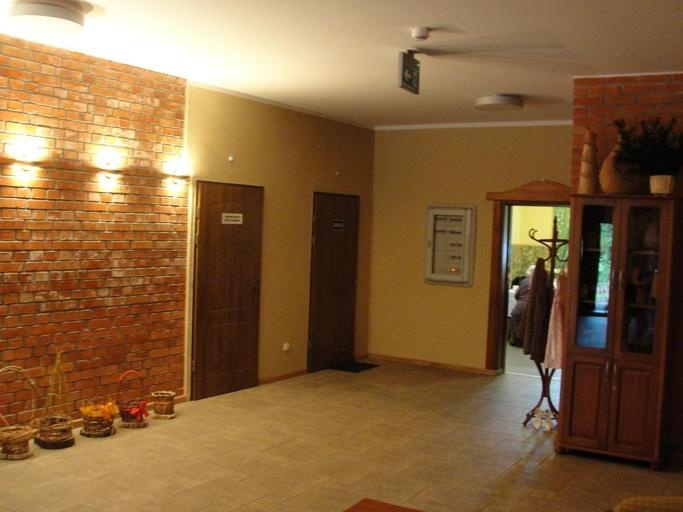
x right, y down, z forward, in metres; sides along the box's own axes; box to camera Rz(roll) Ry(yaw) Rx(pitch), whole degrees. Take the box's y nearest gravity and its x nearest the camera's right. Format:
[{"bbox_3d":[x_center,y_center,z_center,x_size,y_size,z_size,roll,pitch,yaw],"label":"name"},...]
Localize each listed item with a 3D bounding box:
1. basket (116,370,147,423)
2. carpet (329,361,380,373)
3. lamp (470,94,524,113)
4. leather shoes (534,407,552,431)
[{"bbox_3d":[-2.238,1.494,5.692,0.303,0.570,0.549,1,3,-22],"label":"basket"},{"bbox_3d":[0.223,1.763,8.428,0.549,0.024,0.761,4,3,31],"label":"carpet"},{"bbox_3d":[1.979,-1.919,6.613,0.614,0.111,0.473,3,2,13],"label":"lamp"},{"bbox_3d":[2.272,1.854,6.026,0.190,0.247,0.072,9,-4,-23],"label":"leather shoes"}]
